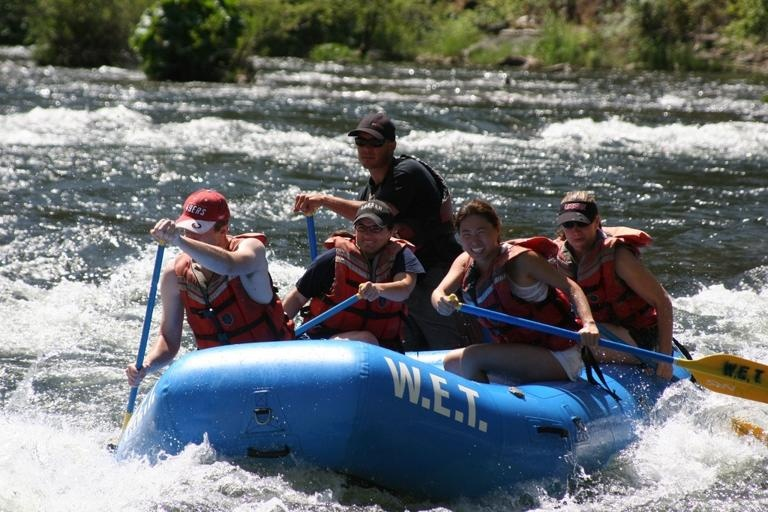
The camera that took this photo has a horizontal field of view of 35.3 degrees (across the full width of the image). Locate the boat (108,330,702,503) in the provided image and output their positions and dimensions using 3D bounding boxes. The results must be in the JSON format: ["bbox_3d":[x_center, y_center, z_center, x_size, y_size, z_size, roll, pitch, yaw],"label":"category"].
[{"bbox_3d":[0.579,3.033,20.585,5.919,1.978,9.148,-4,-10,26],"label":"boat"}]

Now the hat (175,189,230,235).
[{"bbox_3d":[-2.648,-0.703,17.505,0.657,0.503,0.963,13,27,16],"label":"hat"}]

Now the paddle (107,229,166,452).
[{"bbox_3d":[-3.830,1.413,18.557,0.307,3.357,0.470,14,-2,14],"label":"paddle"}]
